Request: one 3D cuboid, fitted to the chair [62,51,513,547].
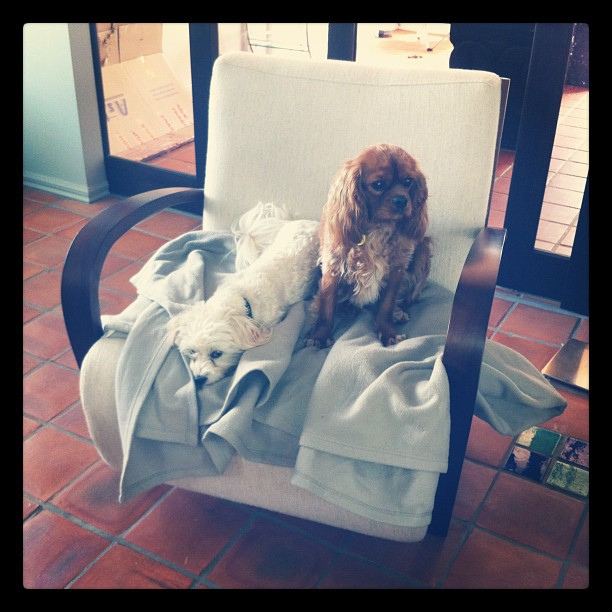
[{"bbox_3d":[-0.004,-0.035,1.672,1.000,1.065,1.309,14,37,17],"label":"chair"}]

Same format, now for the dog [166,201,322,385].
[{"bbox_3d":[-0.148,-0.022,1.497,0.346,0.264,0.511,12,39,14],"label":"dog"}]

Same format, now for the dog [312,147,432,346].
[{"bbox_3d":[0.161,-0.177,1.582,0.310,0.530,0.438,5,20,1],"label":"dog"}]
